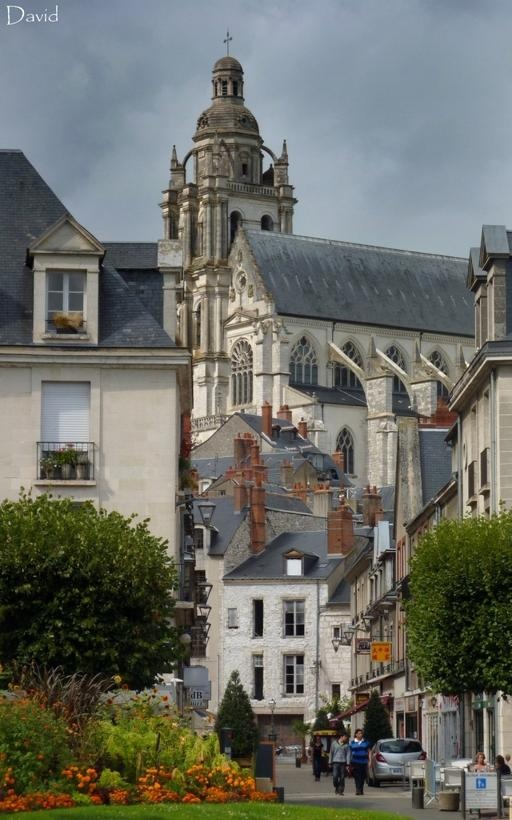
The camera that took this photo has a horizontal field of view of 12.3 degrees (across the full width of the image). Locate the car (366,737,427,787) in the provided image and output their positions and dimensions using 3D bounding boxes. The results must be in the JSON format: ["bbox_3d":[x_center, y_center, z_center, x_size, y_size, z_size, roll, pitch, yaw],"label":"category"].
[{"bbox_3d":[2.535,6.383,42.989,0.752,0.868,1.567,0,-1,-1],"label":"car"}]
